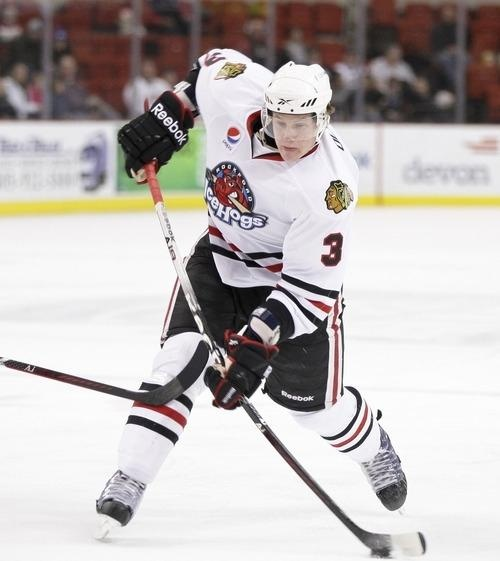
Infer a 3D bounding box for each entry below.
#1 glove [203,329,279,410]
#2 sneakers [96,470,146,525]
[{"bbox_3d":[-0.024,0.202,1.811,0.084,0.182,0.183,38,2,37],"label":"glove"},{"bbox_3d":[-0.301,0.493,1.798,0.091,0.106,0.110,4,11,8],"label":"sneakers"}]
